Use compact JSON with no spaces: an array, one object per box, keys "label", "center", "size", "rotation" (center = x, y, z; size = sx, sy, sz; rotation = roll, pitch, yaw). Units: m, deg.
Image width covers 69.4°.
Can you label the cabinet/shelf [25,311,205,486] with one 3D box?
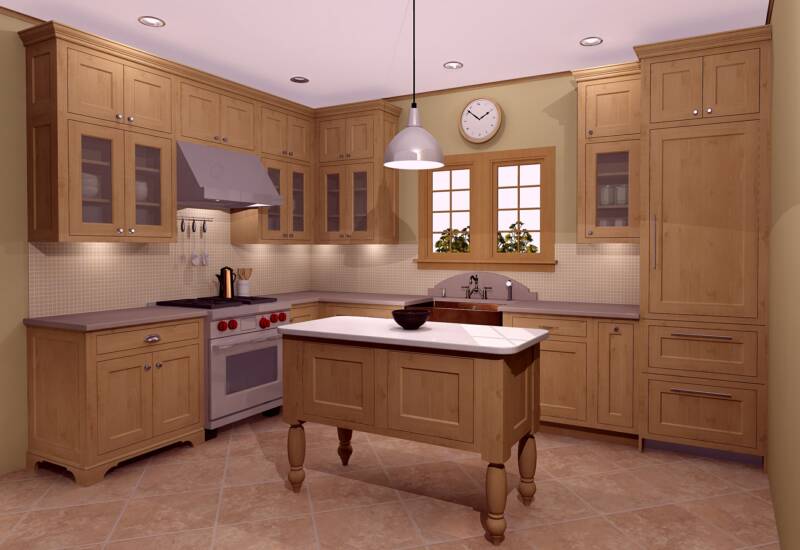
[{"label":"cabinet/shelf","center":[-2.426,0.981,4.894],"size":[1.519,1.298,0.705],"rotation":[-5,14,-19]}]

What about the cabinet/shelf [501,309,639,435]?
[{"label":"cabinet/shelf","center":[1.546,0.841,5.048],"size":[1.216,1.039,0.503],"rotation":[0,-2,24]}]

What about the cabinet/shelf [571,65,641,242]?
[{"label":"cabinet/shelf","center":[2.003,-1.180,5.622],"size":[0.679,1.699,0.301],"rotation":[3,13,15]}]

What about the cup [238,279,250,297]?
[{"label":"cup","center":[-1.716,0.143,6.393],"size":[0.164,0.171,0.165],"rotation":[0,-3,0]}]

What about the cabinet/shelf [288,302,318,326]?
[{"label":"cabinet/shelf","center":[-1.071,0.401,6.365],"size":[0.187,0.261,0.279],"rotation":[2,4,31]}]

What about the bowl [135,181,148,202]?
[{"label":"bowl","center":[-2.369,-0.774,5.281],"size":[0.148,0.173,0.146],"rotation":[0,-2,0]}]

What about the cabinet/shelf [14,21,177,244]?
[{"label":"cabinet/shelf","center":[-2.638,-1.177,5.026],"size":[1.234,1.839,0.700],"rotation":[-5,14,-21]}]

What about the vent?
[{"label":"vent","center":[-1.860,-1.014,5.897],"size":[0.495,0.537,0.977],"rotation":[0,3,27]}]

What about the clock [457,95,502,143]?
[{"label":"clock","center":[0.910,-1.758,6.471],"size":[0.543,0.535,0.091],"rotation":[-6,-1,32]}]
